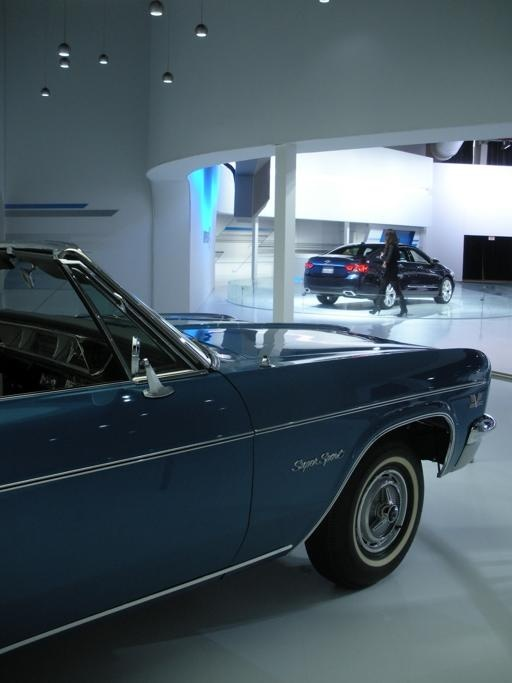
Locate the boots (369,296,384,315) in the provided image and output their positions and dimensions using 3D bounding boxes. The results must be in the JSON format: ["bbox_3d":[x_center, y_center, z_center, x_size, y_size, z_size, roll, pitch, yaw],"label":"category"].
[{"bbox_3d":[1.732,-0.528,6.945,0.106,0.260,0.187,15,26,-15],"label":"boots"}]
